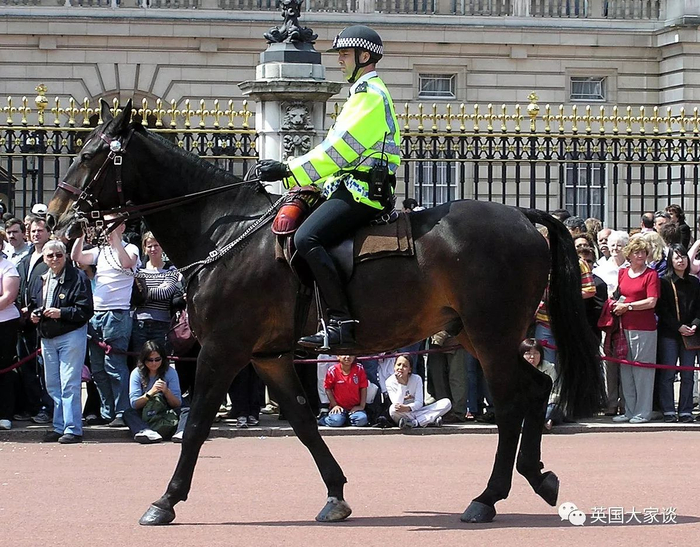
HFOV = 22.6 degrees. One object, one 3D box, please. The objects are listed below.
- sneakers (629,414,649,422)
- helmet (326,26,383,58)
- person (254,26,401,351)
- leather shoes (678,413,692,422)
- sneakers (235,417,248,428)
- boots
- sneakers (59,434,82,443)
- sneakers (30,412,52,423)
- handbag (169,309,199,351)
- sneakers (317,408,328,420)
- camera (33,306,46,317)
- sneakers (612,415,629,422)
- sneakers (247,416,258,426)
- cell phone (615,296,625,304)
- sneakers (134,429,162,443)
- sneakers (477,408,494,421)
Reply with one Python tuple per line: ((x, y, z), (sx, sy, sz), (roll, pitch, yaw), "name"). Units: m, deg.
((3.822, 1.878, 23.058), (0.221, 0.069, 0.103), (2, -4, 3), "sneakers")
((0.046, -2.454, 18.697), (0.515, 0.214, 0.326), (9, -5, -3), "helmet")
((-0.173, -0.913, 18.518), (0.942, 3.329, 1.276), (9, 15, 38), "person")
((4.471, 1.883, 23.110), (0.088, 0.083, 0.233), (1, 2, -42), "leather shoes")
((-1.414, 1.880, 22.450), (0.117, 0.106, 0.282), (1, -10, -7), "sneakers")
((-0.247, 0.269, 18.324), (0.571, 1.073, 0.311), (1, 11, 3), "boots")
((-3.531, 2.034, 21.902), (0.300, 0.102, 0.100), (6, 2, -21), "sneakers")
((-4.069, 1.865, 22.901), (0.299, 0.108, 0.103), (4, 0, 4), "sneakers")
((-2.061, 0.698, 21.446), (0.435, 0.651, 0.532), (1, -13, -7), "handbag")
((-0.382, 1.808, 22.864), (0.136, 0.135, 0.352), (1, -6, -3), "sneakers")
((-3.971, 0.470, 22.110), (0.111, 0.122, 0.310), (-8, 12, -37), "camera")
((3.593, 1.902, 23.244), (0.229, 0.071, 0.069), (1, 0, 11), "sneakers")
((-1.289, 1.867, 22.549), (0.151, 0.055, 0.188), (1, 1, -1), "sneakers")
((3.583, 0.333, 23.137), (0.033, 0.076, 0.121), (23, -5, -25), "cell phone")
((-2.561, 2.012, 21.916), (0.401, 0.134, 0.131), (1, 1, -9), "sneakers")
((1.809, 1.850, 23.256), (0.135, 0.136, 0.393), (2, 0, -12), "sneakers")
